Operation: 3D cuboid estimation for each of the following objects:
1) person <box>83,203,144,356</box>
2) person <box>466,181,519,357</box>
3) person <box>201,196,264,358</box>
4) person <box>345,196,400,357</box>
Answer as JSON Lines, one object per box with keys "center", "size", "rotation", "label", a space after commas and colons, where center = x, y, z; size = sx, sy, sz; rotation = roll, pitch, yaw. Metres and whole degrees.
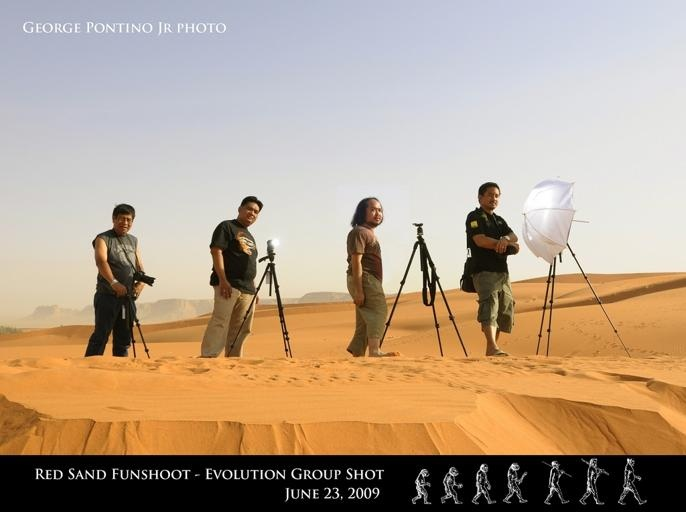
{"center": [-2.903, 0.308, 7.051], "size": [0.586, 1.976, 0.784], "rotation": [-6, -5, 24], "label": "person"}
{"center": [2.014, 0.130, 7.312], "size": [0.658, 2.294, 0.888], "rotation": [-8, -5, 36], "label": "person"}
{"center": [-1.401, 0.252, 6.941], "size": [0.849, 2.025, 0.501], "rotation": [-1, -6, -39], "label": "person"}
{"center": [0.325, 0.256, 7.034], "size": [0.630, 2.037, 0.600], "rotation": [-7, -5, 28], "label": "person"}
